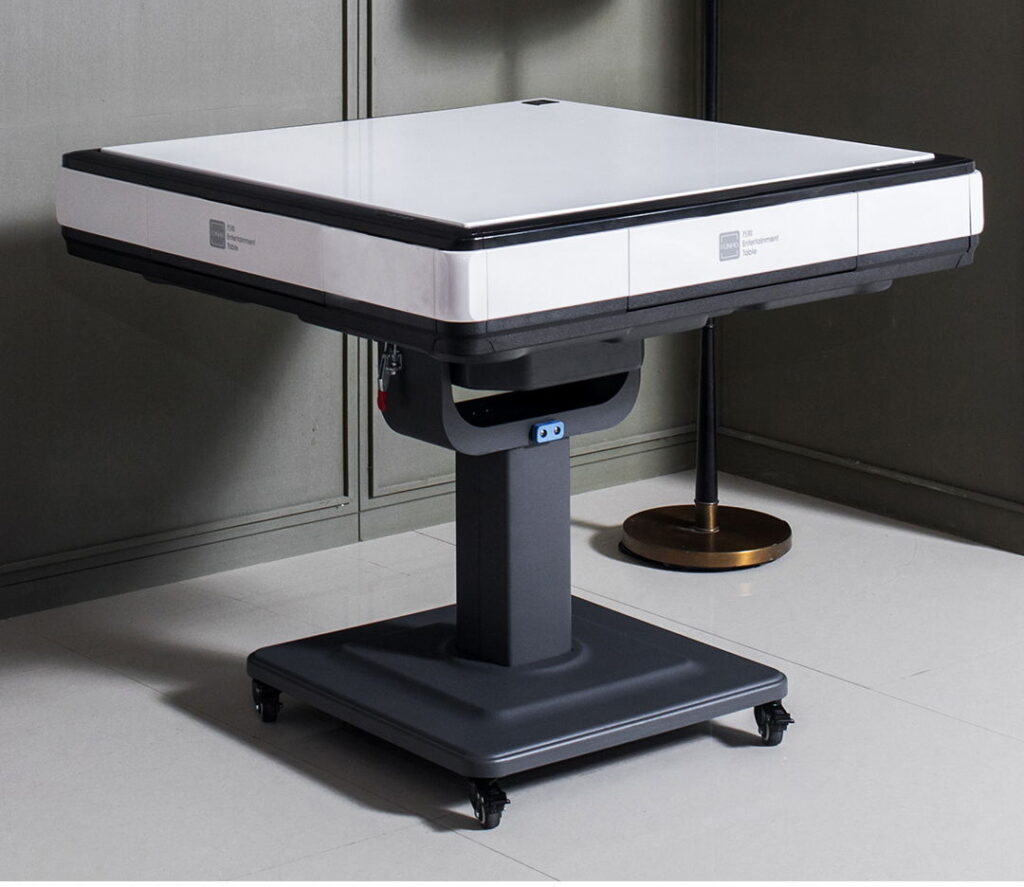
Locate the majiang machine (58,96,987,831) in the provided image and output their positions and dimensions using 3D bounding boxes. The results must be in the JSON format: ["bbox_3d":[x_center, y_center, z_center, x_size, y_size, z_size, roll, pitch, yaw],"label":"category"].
[{"bbox_3d":[-0.035,0.037,2.196,1.207,1.167,1.189,-11,19,-36],"label":"majiang machine"}]
